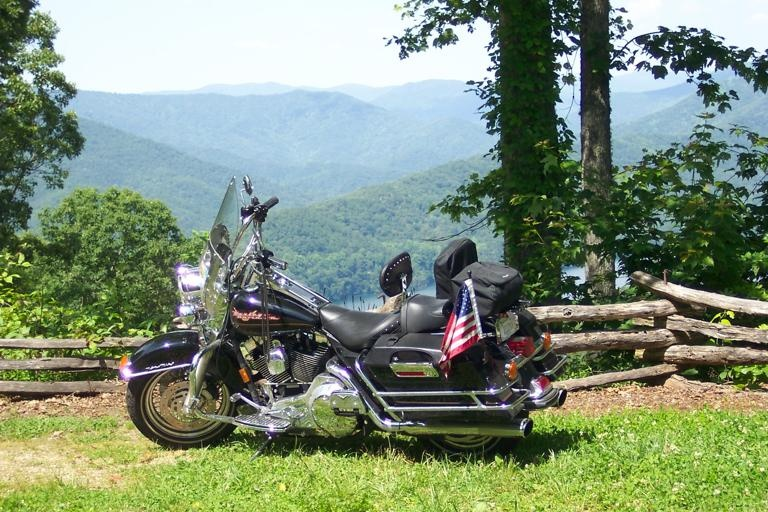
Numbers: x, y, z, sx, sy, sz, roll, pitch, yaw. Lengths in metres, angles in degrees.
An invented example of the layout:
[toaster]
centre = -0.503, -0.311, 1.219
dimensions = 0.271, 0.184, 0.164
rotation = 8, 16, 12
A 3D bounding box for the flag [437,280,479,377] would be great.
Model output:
[flag]
centre = 0.898, 0.850, 8.748
dimensions = 0.493, 1.180, 0.257
rotation = -1, 1, 3
